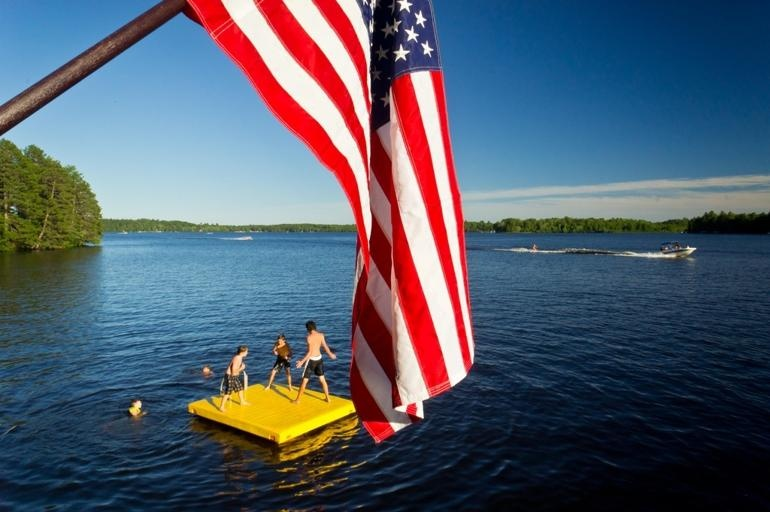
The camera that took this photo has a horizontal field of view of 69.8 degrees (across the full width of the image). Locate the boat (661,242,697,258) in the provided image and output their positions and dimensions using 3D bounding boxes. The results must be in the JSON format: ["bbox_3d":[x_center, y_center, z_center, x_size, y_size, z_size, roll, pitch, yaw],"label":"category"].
[{"bbox_3d":[44.736,-1.206,84.760,3.581,2.125,6.321,-1,3,23],"label":"boat"}]
